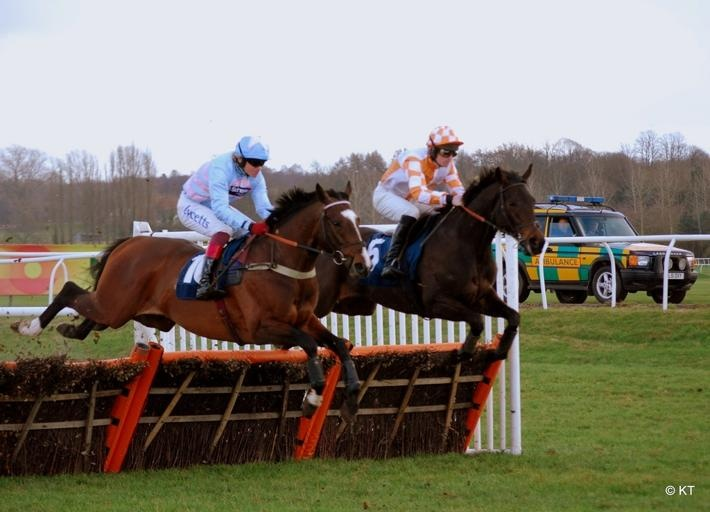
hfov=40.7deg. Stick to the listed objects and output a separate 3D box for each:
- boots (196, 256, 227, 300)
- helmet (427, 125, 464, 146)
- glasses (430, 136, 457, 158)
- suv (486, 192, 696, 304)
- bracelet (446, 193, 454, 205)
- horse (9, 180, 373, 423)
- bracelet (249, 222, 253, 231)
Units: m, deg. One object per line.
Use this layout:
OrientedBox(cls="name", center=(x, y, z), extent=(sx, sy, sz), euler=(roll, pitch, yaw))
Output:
OrientedBox(cls="boots", center=(-1.176, 0.188, 7.823), extent=(0.221, 0.328, 0.214), euler=(-1, 11, -12))
OrientedBox(cls="helmet", center=(0.797, -1.083, 8.734), extent=(0.310, 0.188, 0.264), euler=(5, 12, 16))
OrientedBox(cls="glasses", center=(0.821, -0.993, 8.824), extent=(0.142, 0.089, 0.197), euler=(1, 12, -26))
OrientedBox(cls="suv", center=(3.513, 0.017, 14.629), extent=(1.690, 1.597, 3.003), euler=(3, -4, -43))
OrientedBox(cls="bracelet", center=(0.864, -0.517, 8.729), extent=(0.077, 0.077, 0.079), euler=(11, 21, 37))
OrientedBox(cls="horse", center=(-1.111, 0.244, 7.995), extent=(2.603, 1.792, 0.690), euler=(6, 11, 20))
OrientedBox(cls="bracelet", center=(-0.859, -0.242, 7.917), extent=(0.020, 0.053, 0.039), euler=(20, -5, -25))
